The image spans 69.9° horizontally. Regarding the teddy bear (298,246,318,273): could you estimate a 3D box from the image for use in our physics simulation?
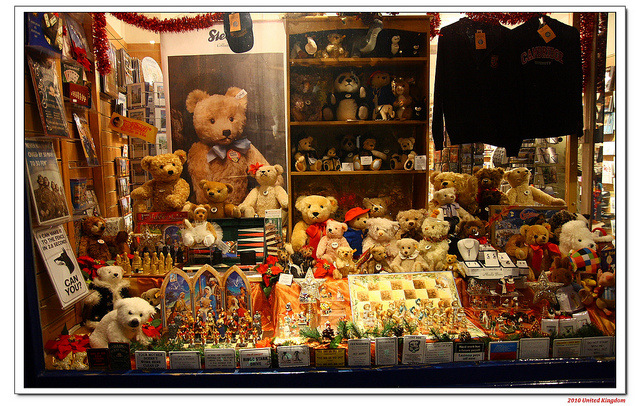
[{"bbox_3d":[-0.112,0.511,4.103,0.201,0.272,0.191,0,-4,-14],"label":"teddy bear"}]

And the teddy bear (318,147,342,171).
[{"bbox_3d":[0.091,-0.442,4.881,0.258,0.294,0.220,1,-17,-14],"label":"teddy bear"}]

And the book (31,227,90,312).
[{"bbox_3d":[-2.004,0.486,3.559,0.166,0.605,0.307,0,6,15],"label":"book"}]

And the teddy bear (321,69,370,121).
[{"bbox_3d":[0.309,-1.124,4.846,0.500,0.517,0.362,4,4,14],"label":"teddy bear"}]

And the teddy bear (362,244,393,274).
[{"bbox_3d":[0.499,0.489,4.081,0.259,0.306,0.244,2,-4,-30],"label":"teddy bear"}]

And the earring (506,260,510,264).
[{"bbox_3d":[1.553,0.488,3.789,0.029,0.018,0.018,-1,6,2],"label":"earring"}]

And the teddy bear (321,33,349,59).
[{"bbox_3d":[0.160,-1.589,4.689,0.306,0.275,0.159,-4,22,-9],"label":"teddy bear"}]

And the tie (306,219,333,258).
[{"bbox_3d":[-0.014,0.307,4.305,0.220,0.372,0.119,15,25,-2],"label":"tie"}]

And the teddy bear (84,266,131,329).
[{"bbox_3d":[-1.792,0.804,3.855,0.220,0.527,0.414,0,-5,38],"label":"teddy bear"}]

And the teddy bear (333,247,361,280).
[{"bbox_3d":[0.225,0.517,4.059,0.254,0.254,0.147,-4,6,-21],"label":"teddy bear"}]

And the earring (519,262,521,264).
[{"bbox_3d":[1.666,0.495,3.817,0.017,0.014,0.004,0,-4,1],"label":"earring"}]

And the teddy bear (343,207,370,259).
[{"bbox_3d":[0.325,0.298,4.353,0.262,0.508,0.379,3,0,38],"label":"teddy bear"}]

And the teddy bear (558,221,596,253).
[{"bbox_3d":[2.159,0.284,3.868,0.241,0.243,0.256,0,-5,10],"label":"teddy bear"}]

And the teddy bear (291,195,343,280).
[{"bbox_3d":[-0.039,0.327,4.327,0.518,0.779,0.519,-2,7,-14],"label":"teddy bear"}]

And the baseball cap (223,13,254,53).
[{"bbox_3d":[-0.856,-1.793,4.848,0.308,0.345,0.276,-2,6,-7],"label":"baseball cap"}]

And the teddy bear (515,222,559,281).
[{"bbox_3d":[1.835,0.408,3.902,0.355,0.444,0.216,-2,6,-8],"label":"teddy bear"}]

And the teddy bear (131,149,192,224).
[{"bbox_3d":[-1.531,-0.214,4.378,0.520,0.564,0.201,-3,6,-18],"label":"teddy bear"}]

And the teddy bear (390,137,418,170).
[{"bbox_3d":[0.873,-0.525,4.840,0.281,0.333,0.232,-1,13,17],"label":"teddy bear"}]

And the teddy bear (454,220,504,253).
[{"bbox_3d":[1.373,0.240,4.152,0.407,0.409,0.289,-5,-6,-6],"label":"teddy bear"}]

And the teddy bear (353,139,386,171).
[{"bbox_3d":[0.505,-0.518,4.836,0.343,0.408,0.273,1,-1,1],"label":"teddy bear"}]

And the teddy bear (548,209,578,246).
[{"bbox_3d":[2.117,0.194,4.024,0.248,0.300,0.108,20,-3,45],"label":"teddy bear"}]

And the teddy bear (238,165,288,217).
[{"bbox_3d":[-0.598,-0.119,4.791,0.599,0.532,0.334,-1,0,5],"label":"teddy bear"}]

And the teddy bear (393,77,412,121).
[{"bbox_3d":[0.860,-1.081,4.759,0.182,0.445,0.146,-2,6,1],"label":"teddy bear"}]

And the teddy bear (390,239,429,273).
[{"bbox_3d":[0.730,0.433,4.091,0.449,0.279,0.296,-2,15,-15],"label":"teddy bear"}]

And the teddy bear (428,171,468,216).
[{"bbox_3d":[1.237,-0.077,4.408,0.388,0.459,0.312,2,-2,22],"label":"teddy bear"}]

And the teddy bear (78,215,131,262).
[{"bbox_3d":[-1.912,0.322,4.040,0.214,0.338,0.373,-18,-6,29],"label":"teddy bear"}]

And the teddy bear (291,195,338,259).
[{"bbox_3d":[-0.026,0.232,4.404,0.471,0.624,0.356,0,4,6],"label":"teddy bear"}]

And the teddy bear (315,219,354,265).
[{"bbox_3d":[0.117,0.350,4.173,0.302,0.388,0.279,0,6,24],"label":"teddy bear"}]

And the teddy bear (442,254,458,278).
[{"bbox_3d":[1.097,0.532,3.864,0.167,0.226,0.140,-4,-10,27],"label":"teddy bear"}]

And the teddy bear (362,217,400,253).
[{"bbox_3d":[0.569,0.295,4.245,0.271,0.326,0.315,-2,-7,9],"label":"teddy bear"}]

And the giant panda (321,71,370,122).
[{"bbox_3d":[0.247,-1.115,4.769,0.472,0.505,0.151,-1,6,3],"label":"giant panda"}]

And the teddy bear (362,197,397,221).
[{"bbox_3d":[0.587,0.053,4.625,0.342,0.337,0.248,0,-13,-3],"label":"teddy bear"}]

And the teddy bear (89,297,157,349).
[{"bbox_3d":[-1.521,0.913,3.497,0.485,0.348,0.171,-2,6,-7],"label":"teddy bear"}]

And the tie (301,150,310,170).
[{"bbox_3d":[-0.135,-0.459,4.754,0.049,0.154,0.122,-7,3,20],"label":"tie"}]

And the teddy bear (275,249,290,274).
[{"bbox_3d":[-0.326,0.511,4.037,0.164,0.232,0.165,1,-4,-10],"label":"teddy bear"}]

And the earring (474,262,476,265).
[{"bbox_3d":[1.280,0.498,3.792,0.020,0.018,0.004,9,7,11],"label":"earring"}]

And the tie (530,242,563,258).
[{"bbox_3d":[1.907,0.397,3.884,0.240,0.126,0.059,-1,6,0],"label":"tie"}]

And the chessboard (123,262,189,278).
[{"bbox_3d":[-1.424,0.579,3.960,0.545,0.110,0.101,-2,6,-6],"label":"chessboard"}]

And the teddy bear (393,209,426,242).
[{"bbox_3d":[0.863,0.203,4.247,0.309,0.304,0.217,-1,8,23],"label":"teddy bear"}]

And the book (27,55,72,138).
[{"bbox_3d":[-2.143,-0.854,3.666,0.163,0.660,0.351,-2,6,-7],"label":"book"}]

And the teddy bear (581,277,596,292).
[{"bbox_3d":[2.166,0.649,3.712,0.120,0.097,0.080,-5,6,-30],"label":"teddy bear"}]

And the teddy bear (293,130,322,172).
[{"bbox_3d":[-0.146,-0.528,4.767,0.307,0.373,0.281,-9,22,-24],"label":"teddy bear"}]

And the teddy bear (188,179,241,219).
[{"bbox_3d":[-0.971,-0.042,4.515,0.438,0.356,0.565,0,-34,0],"label":"teddy bear"}]

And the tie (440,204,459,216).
[{"bbox_3d":[1.196,0.065,4.235,0.142,0.115,0.015,1,-36,3],"label":"tie"}]
